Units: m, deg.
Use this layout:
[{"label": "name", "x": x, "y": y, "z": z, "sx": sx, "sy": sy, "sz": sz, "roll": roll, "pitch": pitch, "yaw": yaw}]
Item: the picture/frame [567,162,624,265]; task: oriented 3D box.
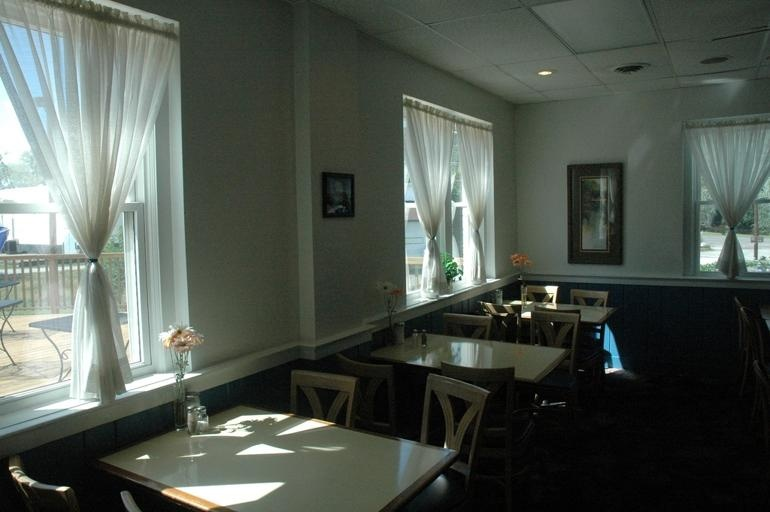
[{"label": "picture/frame", "x": 2.546, "y": -0.513, "z": 7.263, "sx": 0.634, "sy": 1.206, "sz": 0.224, "roll": 2, "pitch": 11, "yaw": 17}]

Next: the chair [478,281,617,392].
[{"label": "chair", "x": 1.986, "y": 0.966, "z": 6.495, "sx": 1.358, "sy": 0.727, "sz": 0.934, "roll": 0, "pitch": -2, "yaw": 37}]

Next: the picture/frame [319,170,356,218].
[{"label": "picture/frame", "x": -0.386, "y": -0.495, "z": 4.732, "sx": 0.033, "sy": 0.378, "sz": 0.382, "roll": 6, "pitch": 9, "yaw": 42}]
